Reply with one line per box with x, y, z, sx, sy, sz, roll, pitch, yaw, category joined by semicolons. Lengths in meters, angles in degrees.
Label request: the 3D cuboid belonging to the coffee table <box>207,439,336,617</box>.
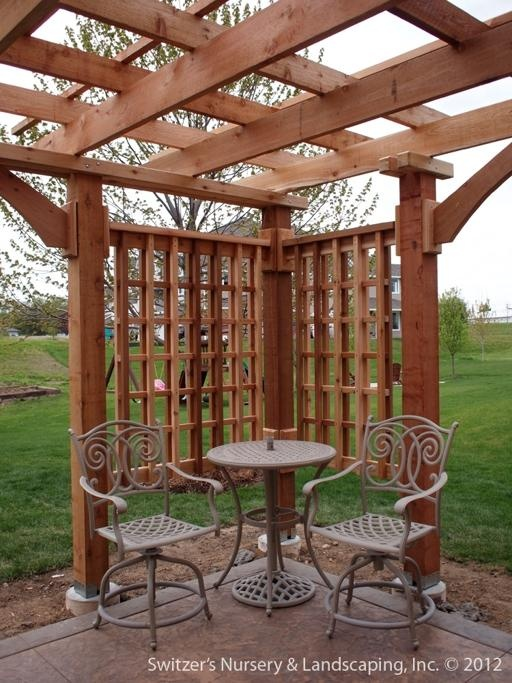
0.082;0.970;3.000;0.686;0.724;0.671;-3;-11;13;coffee table

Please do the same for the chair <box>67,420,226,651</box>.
-0.519;0.857;2.699;0.700;0.901;0.700;1;-1;11;chair

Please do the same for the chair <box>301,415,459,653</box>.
0.591;0.843;2.633;0.673;0.913;0.659;0;-2;-22;chair
